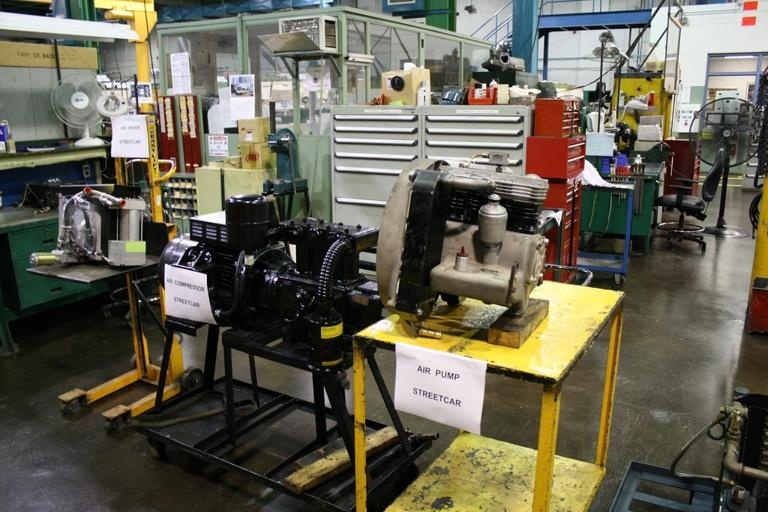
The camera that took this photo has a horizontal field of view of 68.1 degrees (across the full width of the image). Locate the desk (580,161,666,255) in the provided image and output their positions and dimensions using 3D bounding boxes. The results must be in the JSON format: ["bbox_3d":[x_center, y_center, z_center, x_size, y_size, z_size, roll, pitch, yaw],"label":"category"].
[{"bbox_3d":[2.641,-0.767,6.290,0.583,0.714,1.088,19,12,20],"label":"desk"}]

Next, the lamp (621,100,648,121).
[{"bbox_3d":[3.111,-1.866,7.068,0.315,0.081,0.343,-1,4,8],"label":"lamp"}]

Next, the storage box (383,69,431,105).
[{"bbox_3d":[0.254,-1.533,5.356,0.391,0.351,0.397,4,9,39],"label":"storage box"}]

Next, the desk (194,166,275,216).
[{"bbox_3d":[-1.504,-0.644,5.646,0.898,0.489,0.212,7,16,25],"label":"desk"}]

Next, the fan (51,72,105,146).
[{"bbox_3d":[-2.724,-1.292,5.076,0.416,0.596,0.288,-9,17,-30],"label":"fan"}]

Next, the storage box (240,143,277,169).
[{"bbox_3d":[-1.233,-0.959,5.548,0.277,0.272,0.279,4,8,26],"label":"storage box"}]

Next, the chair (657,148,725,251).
[{"bbox_3d":[3.749,-0.760,6.994,0.679,1.173,1.502,8,17,29],"label":"chair"}]

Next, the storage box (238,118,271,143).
[{"bbox_3d":[-1.254,-1.200,5.472,0.259,0.247,0.265,4,14,23],"label":"storage box"}]
